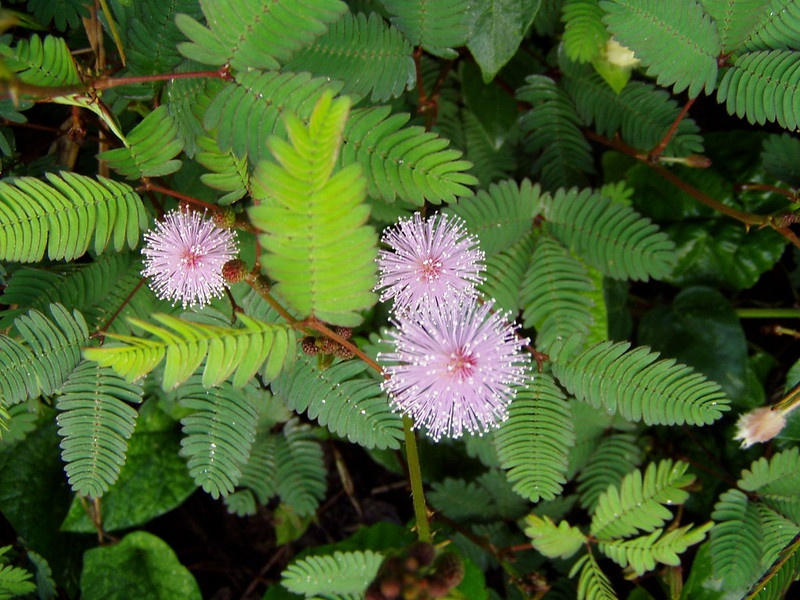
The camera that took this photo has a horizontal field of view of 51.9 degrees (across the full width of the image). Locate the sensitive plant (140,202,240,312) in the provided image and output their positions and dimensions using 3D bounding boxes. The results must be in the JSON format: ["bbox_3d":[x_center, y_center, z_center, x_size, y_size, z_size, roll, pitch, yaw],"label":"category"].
[{"bbox_3d":[-0.620,-0.181,2.583,0.276,0.290,0.153,36,76,0],"label":"sensitive plant"}]

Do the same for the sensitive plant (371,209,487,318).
[{"bbox_3d":[0.090,-0.178,2.583,0.316,0.346,0.168,-5,84,-19],"label":"sensitive plant"}]

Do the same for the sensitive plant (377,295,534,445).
[{"bbox_3d":[0.188,0.115,2.475,0.342,0.408,0.230,-8,105,-4],"label":"sensitive plant"}]

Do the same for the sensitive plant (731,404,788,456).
[{"bbox_3d":[1.212,0.430,2.769,0.065,0.179,0.102,-29,74,-42],"label":"sensitive plant"}]
